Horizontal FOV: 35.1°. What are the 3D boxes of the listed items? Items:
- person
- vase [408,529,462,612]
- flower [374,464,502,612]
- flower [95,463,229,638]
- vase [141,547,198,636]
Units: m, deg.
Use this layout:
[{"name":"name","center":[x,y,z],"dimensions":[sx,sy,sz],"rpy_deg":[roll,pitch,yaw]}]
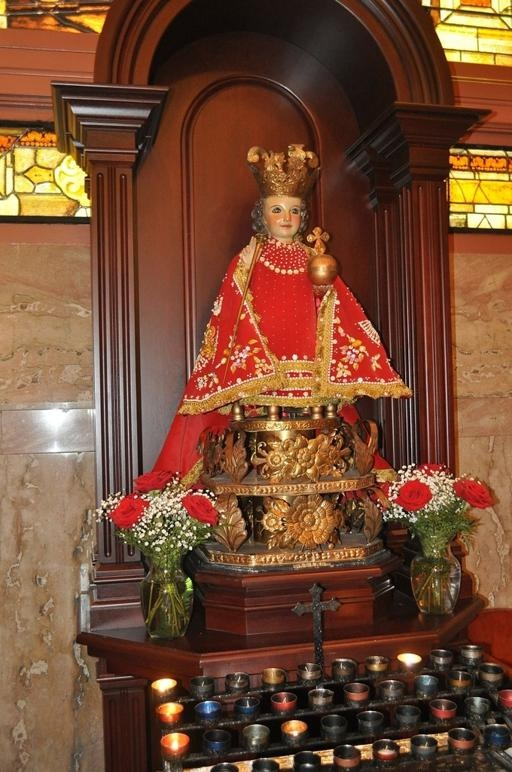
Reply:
[{"name":"person","center":[0.078,-0.294,2.193],"dimensions":[0.573,0.730,0.274],"rpy_deg":[-1,-4,-18]},{"name":"vase","center":[0.477,0.500,2.133],"dimensions":[0.126,0.199,0.066],"rpy_deg":[-2,-4,8]},{"name":"flower","center":[0.460,0.427,2.191],"dimensions":[0.320,0.350,0.350],"rpy_deg":[-1,-5,35]},{"name":"flower","center":[-0.237,0.447,2.023],"dimensions":[0.297,0.325,0.316],"rpy_deg":[-1,-19,-27]},{"name":"vase","center":[-0.217,0.515,1.985],"dimensions":[0.125,0.209,0.065],"rpy_deg":[-1,-4,-8]}]
